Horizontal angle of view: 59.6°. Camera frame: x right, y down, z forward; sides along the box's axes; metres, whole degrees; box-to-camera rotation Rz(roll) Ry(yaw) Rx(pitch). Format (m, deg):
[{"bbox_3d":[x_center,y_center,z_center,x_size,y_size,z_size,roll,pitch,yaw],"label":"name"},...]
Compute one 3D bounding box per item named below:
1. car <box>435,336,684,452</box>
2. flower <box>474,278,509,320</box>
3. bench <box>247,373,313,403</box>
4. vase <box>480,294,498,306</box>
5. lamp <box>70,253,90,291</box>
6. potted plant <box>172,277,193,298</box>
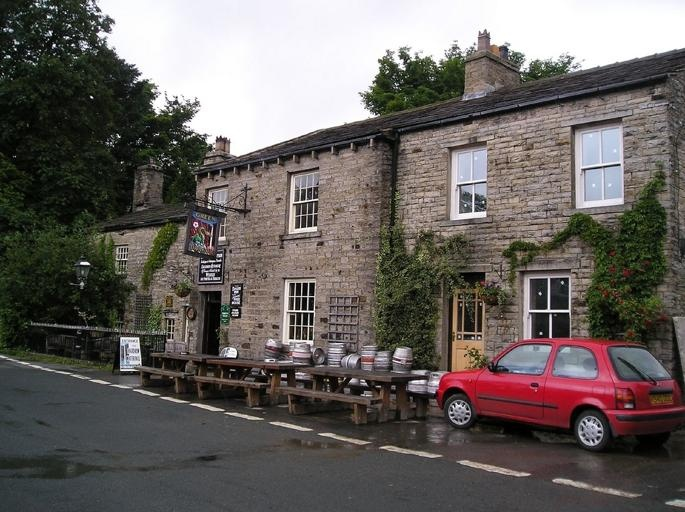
[{"bbox_3d":[3.806,2.335,10.932,1.925,1.488,3.467,8,-6,-42],"label":"car"},{"bbox_3d":[3.543,1.053,14.283,0.407,0.925,0.778,8,-13,-33],"label":"flower"},{"bbox_3d":[-1.474,3.098,14.368,1.234,0.393,1.403,3,0,-9],"label":"bench"},{"bbox_3d":[3.486,1.071,14.254,0.263,0.137,0.263,7,-12,-21],"label":"vase"},{"bbox_3d":[-9.089,0.540,21.129,0.758,1.222,0.566,1,-8,23],"label":"lamp"},{"bbox_3d":[-5.890,1.238,22.189,0.537,0.562,0.866,5,-12,-19],"label":"potted plant"}]
